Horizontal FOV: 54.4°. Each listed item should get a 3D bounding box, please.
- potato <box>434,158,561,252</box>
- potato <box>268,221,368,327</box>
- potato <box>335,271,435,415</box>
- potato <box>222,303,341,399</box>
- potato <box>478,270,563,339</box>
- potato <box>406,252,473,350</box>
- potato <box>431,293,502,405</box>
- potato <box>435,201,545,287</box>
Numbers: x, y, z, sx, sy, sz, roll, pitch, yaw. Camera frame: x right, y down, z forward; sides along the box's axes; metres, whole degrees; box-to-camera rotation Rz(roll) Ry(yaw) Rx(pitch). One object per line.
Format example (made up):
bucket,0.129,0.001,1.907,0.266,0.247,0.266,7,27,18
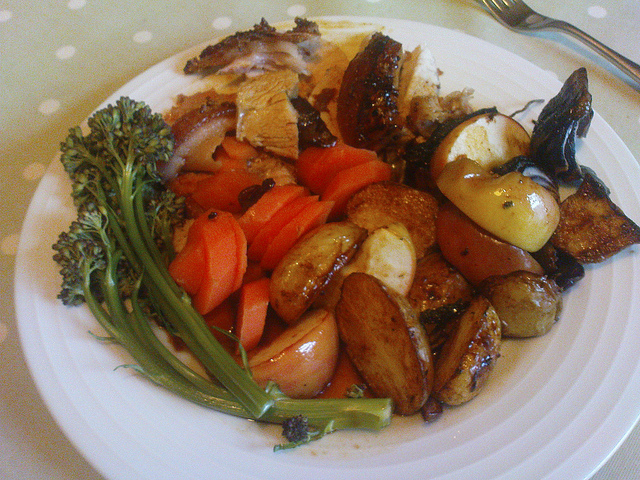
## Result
potato,0.615,-0.106,2.240,0.362,0.155,0.282,37,44,12
potato,-0.024,0.093,2.270,0.219,0.207,0.475,32,57,18
potato,0.240,0.322,2.107,0.296,0.109,0.461,-22,83,34
potato,-0.114,0.395,2.080,0.327,0.144,0.327,8,75,39
potato,0.690,0.212,2.095,0.185,0.249,0.153,-2,63,23
potato,0.423,0.223,2.221,0.208,0.086,0.288,12,78,34
potato,0.486,0.351,2.132,0.236,0.105,0.487,-1,35,38
potato,0.605,0.014,2.232,0.132,0.318,0.297,-44,44,-5
